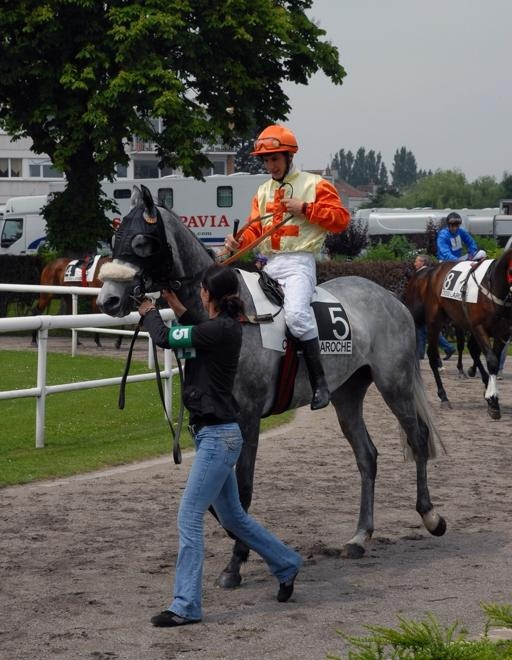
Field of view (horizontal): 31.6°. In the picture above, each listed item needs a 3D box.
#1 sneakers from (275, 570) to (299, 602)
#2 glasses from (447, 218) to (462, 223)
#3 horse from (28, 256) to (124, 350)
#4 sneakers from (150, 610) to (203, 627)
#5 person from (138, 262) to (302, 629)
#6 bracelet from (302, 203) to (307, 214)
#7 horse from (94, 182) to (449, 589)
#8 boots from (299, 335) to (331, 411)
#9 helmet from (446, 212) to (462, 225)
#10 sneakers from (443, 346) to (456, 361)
[{"bbox_3d":[0.123,1.018,3.670,0.060,0.062,0.159,-1,40,34],"label":"sneakers"},{"bbox_3d":[2.513,-1.395,11.511,0.116,0.058,0.151,0,1,1],"label":"glasses"},{"bbox_3d":[-2.937,-0.598,14.684,0.500,1.443,2.107,0,4,44],"label":"horse"},{"bbox_3d":[-0.302,1.066,3.359,0.193,0.070,0.066,6,-1,-12],"label":"sneakers"},{"bbox_3d":[-0.216,0.426,3.577,0.663,1.355,0.477,-4,6,-38],"label":"person"},{"bbox_3d":[0.236,-0.594,4.415,0.017,0.044,0.033,6,-3,-42],"label":"bracelet"},{"bbox_3d":[0.155,0.280,4.427,2.109,1.750,0.482,2,-7,-40],"label":"horse"},{"bbox_3d":[0.278,0.203,4.313,0.128,0.331,0.252,0,4,10],"label":"boots"},{"bbox_3d":[2.524,-1.435,11.508,0.171,0.172,0.206,-1,-1,0],"label":"helmet"},{"bbox_3d":[3.246,0.396,15.264,0.092,0.239,0.171,0,-4,-36],"label":"sneakers"}]
